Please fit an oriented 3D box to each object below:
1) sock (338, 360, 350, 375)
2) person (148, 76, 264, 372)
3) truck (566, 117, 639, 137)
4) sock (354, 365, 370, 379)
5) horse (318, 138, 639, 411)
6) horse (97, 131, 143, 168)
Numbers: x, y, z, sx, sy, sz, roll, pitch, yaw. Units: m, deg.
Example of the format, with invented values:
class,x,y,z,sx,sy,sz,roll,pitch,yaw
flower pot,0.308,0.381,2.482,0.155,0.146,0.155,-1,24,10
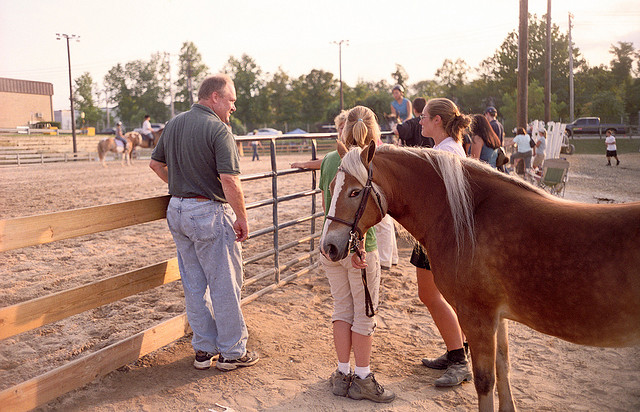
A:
class,x,y,z,sx,sy,sz,roll,pitch,yaw
sock,0.231,1.536,4.593,0.090,0.126,0.123,-1,-6,-3
person,-1.101,0.197,4.810,0.698,2.846,0.807,-7,16,-28
truck,22.049,-6.134,37.183,8.606,1.467,2.498,-9,18,-31
sock,0.390,1.532,4.491,0.094,0.128,0.125,0,1,21
horse,1.326,0.618,3.932,2.229,2.130,0.878,8,16,25
horse,-10.588,-3.000,25.741,2.450,1.854,0.610,-2,-3,-1
